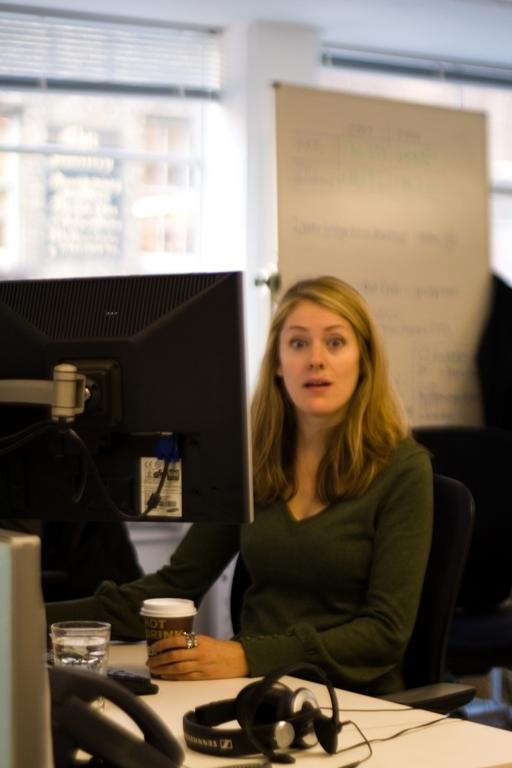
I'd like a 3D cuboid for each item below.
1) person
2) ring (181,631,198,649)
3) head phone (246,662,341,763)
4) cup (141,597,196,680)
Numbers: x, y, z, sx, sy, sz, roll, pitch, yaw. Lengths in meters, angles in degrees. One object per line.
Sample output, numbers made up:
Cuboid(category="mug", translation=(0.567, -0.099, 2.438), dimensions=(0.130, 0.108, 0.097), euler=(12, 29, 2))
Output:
Cuboid(category="person", translation=(0.060, 0.225, 1.825), dimensions=(0.688, 0.738, 0.633), euler=(11, -15, -26))
Cuboid(category="ring", translation=(-0.088, 0.355, 1.311), dimensions=(0.017, 0.021, 0.008), euler=(-5, -14, -21))
Cuboid(category="head phone", translation=(0.027, 0.358, 1.084), dimensions=(0.087, 0.088, 0.110), euler=(-21, 3, -14))
Cuboid(category="cup", translation=(-0.120, 0.357, 1.301), dimensions=(0.078, 0.075, 0.078), euler=(1, -3, 0))
